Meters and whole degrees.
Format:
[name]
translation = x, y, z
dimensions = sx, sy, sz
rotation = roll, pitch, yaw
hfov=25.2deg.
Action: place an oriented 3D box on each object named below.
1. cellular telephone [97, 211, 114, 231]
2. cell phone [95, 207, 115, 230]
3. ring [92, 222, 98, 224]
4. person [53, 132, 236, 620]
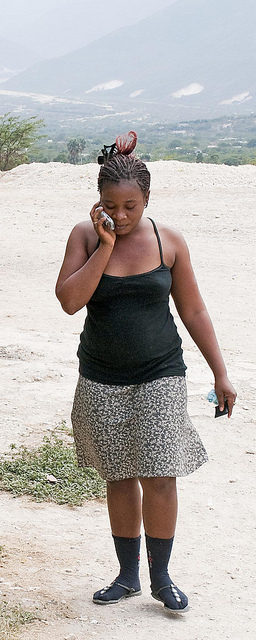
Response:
[cellular telephone]
translation = -0.074, -0.330, 1.918
dimensions = 0.017, 0.062, 0.042
rotation = -31, 21, -13
[cell phone]
translation = -0.075, -0.327, 1.898
dimensions = 0.026, 0.075, 0.051
rotation = -30, 24, -9
[ring]
translation = -0.110, -0.322, 1.893
dimensions = 0.017, 0.005, 0.019
rotation = 1, 11, 5
[person]
translation = 0.046, 0.218, 2.134
dimensions = 0.692, 1.666, 0.435
rotation = 7, -1, -12
